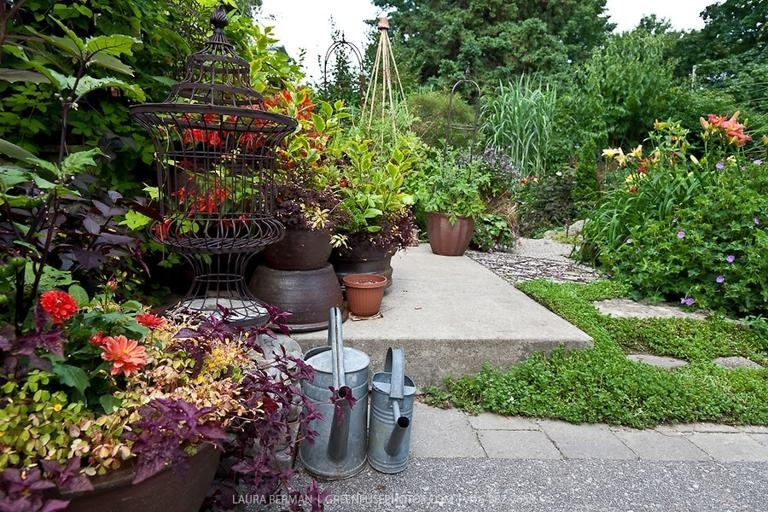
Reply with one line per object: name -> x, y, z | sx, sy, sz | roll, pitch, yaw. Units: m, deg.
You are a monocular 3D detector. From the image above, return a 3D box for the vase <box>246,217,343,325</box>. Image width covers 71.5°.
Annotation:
vase -> -0.570, 0.058, 3.510 | 0.623, 0.627, 0.646 | 7, 14, 10

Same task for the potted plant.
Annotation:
potted plant -> 0.854, -0.525, 6.044 | 0.833, 0.973, 0.747 | 8, -4, 0

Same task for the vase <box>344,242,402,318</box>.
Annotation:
vase -> -0.094, 0.197, 3.778 | 0.419, 0.332, 0.441 | 0, 0, -6
